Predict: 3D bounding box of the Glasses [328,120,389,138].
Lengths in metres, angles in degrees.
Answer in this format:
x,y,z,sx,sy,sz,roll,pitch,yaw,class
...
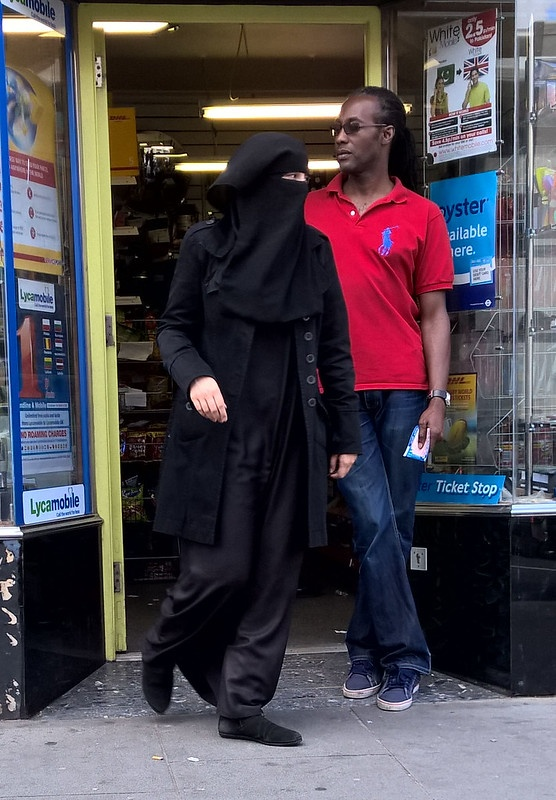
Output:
x,y,z,sx,sy,sz,roll,pitch,yaw,class
0.288,-0.935,2.848,0.114,0.032,0.105,-1,4,-25,Glasses

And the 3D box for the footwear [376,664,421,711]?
x,y,z,sx,sy,sz,roll,pitch,yaw,class
0.407,0.964,2.758,0.094,0.101,0.266,1,-11,9,footwear

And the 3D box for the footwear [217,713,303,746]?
x,y,z,sx,sy,sz,roll,pitch,yaw,class
-0.054,0.912,2.311,0.237,0.085,0.088,-2,-8,16,footwear

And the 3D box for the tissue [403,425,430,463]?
x,y,z,sx,sy,sz,roll,pitch,yaw,class
0.478,0.158,2.816,0.078,0.125,0.026,13,-26,15,tissue

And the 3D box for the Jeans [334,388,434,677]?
x,y,z,sx,sy,sz,roll,pitch,yaw,class
0.363,0.367,2.907,0.325,1.244,0.279,-4,-16,36,Jeans

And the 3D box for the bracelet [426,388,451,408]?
x,y,z,sx,sy,sz,roll,pitch,yaw,class
0.570,-0.010,2.877,0.090,0.057,0.091,6,-7,0,bracelet
